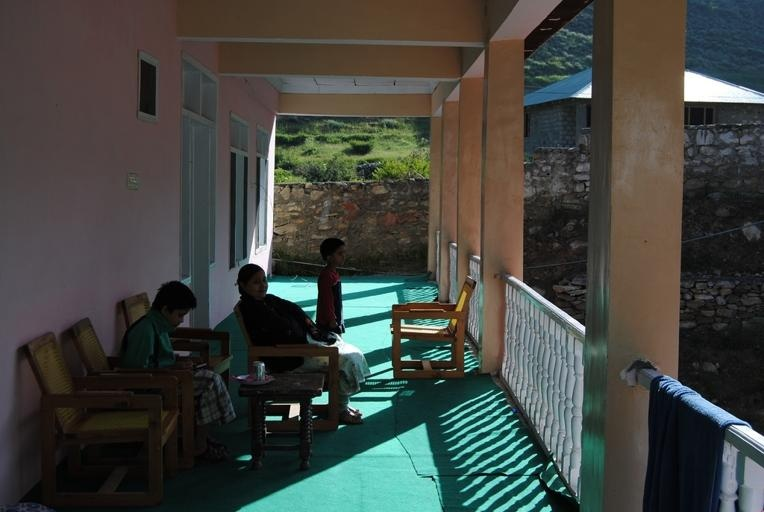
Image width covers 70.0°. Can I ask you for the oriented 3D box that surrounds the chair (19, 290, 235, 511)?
[{"bbox_3d":[-1.846,1.087,4.234,1.039,1.050,1.778,-1,0,-4],"label":"chair"}]

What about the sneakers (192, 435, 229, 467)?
[{"bbox_3d":[-1.384,1.562,4.425,0.259,0.266,0.194,1,1,-11],"label":"sneakers"}]

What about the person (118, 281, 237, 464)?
[{"bbox_3d":[-1.722,0.977,4.488,0.895,1.476,0.645,-2,-14,-21],"label":"person"}]

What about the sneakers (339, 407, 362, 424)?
[{"bbox_3d":[-0.291,1.523,5.167,0.276,0.203,0.097,-1,0,-5],"label":"sneakers"}]

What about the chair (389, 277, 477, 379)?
[{"bbox_3d":[0.627,0.845,6.692,1.015,1.098,0.812,0,7,2],"label":"chair"}]

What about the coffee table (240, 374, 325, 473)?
[{"bbox_3d":[-0.784,1.354,4.556,0.695,0.708,0.716,0,3,0],"label":"coffee table"}]

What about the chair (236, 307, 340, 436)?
[{"bbox_3d":[-0.880,1.069,5.387,0.931,1.165,0.957,-1,-4,1],"label":"chair"}]

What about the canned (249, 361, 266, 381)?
[{"bbox_3d":[-0.984,0.916,4.364,0.105,0.147,0.124,-2,7,-12],"label":"canned"}]

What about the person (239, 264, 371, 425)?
[{"bbox_3d":[-0.779,0.880,5.331,1.192,1.557,0.836,-2,0,0],"label":"person"}]
